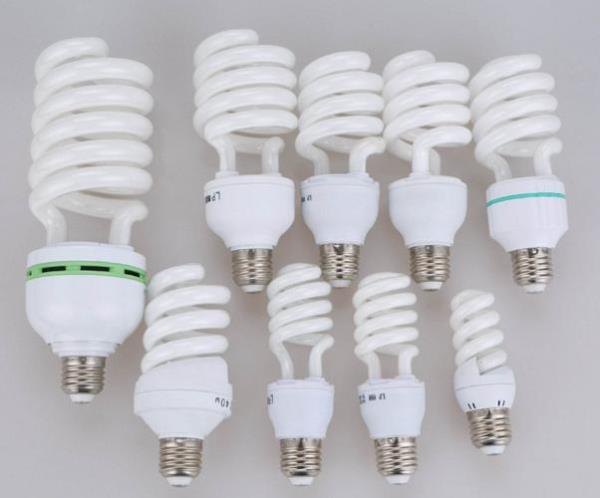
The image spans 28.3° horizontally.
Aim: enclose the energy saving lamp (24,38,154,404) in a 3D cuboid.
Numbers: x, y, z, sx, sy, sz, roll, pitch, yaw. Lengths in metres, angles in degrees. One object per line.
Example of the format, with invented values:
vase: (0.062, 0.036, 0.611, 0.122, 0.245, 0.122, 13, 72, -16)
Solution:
energy saving lamp: (-0.369, -0.054, 2.107, 0.231, 0.639, 0.207, 0, -17, -13)
